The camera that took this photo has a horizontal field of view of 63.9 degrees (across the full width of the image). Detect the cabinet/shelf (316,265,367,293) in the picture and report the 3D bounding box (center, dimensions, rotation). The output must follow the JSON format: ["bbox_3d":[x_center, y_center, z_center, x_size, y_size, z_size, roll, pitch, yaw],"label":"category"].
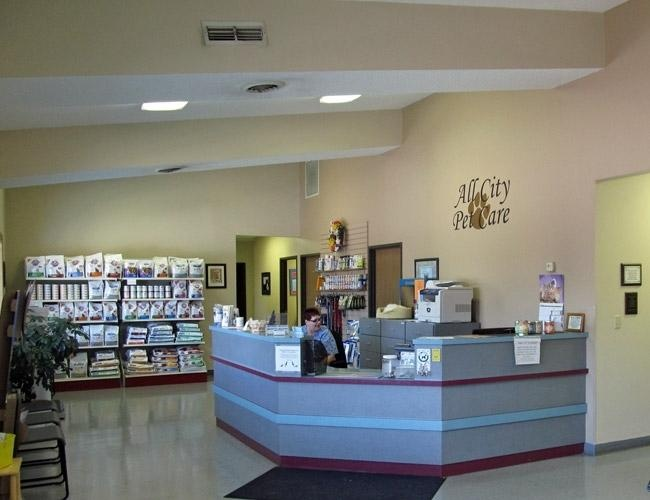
[{"bbox_3d":[0.302,0.591,9.970,0.261,0.431,1.398,1,-3,-31],"label":"cabinet/shelf"}]

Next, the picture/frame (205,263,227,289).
[{"bbox_3d":[-2.304,0.544,10.745,0.523,0.635,0.044,0,-2,-30],"label":"picture/frame"}]

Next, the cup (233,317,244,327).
[{"bbox_3d":[-1.178,0.957,6.887,0.153,0.150,0.099,0,0,12],"label":"cup"}]

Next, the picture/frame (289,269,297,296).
[{"bbox_3d":[-0.793,0.767,12.443,0.053,0.730,0.603,1,-4,-25],"label":"picture/frame"}]

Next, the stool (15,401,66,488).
[{"bbox_3d":[-2.838,1.945,5.141,0.356,0.664,0.998,-1,5,-16],"label":"stool"}]

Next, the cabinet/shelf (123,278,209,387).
[{"bbox_3d":[-3.063,1.553,9.700,1.775,2.467,1.261,0,-5,-22],"label":"cabinet/shelf"}]

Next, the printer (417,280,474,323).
[{"bbox_3d":[1.660,0.713,7.207,0.579,0.535,0.567,3,-5,-27],"label":"printer"}]

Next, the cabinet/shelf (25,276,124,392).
[{"bbox_3d":[-4.322,1.425,9.264,1.357,1.983,0.531,0,-2,-23],"label":"cabinet/shelf"}]

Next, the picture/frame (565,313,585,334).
[{"bbox_3d":[2.814,0.826,5.829,0.040,0.218,0.199,13,-11,-28],"label":"picture/frame"}]

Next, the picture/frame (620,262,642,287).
[{"bbox_3d":[3.438,0.277,5.868,0.264,0.230,0.022,2,-1,-30],"label":"picture/frame"}]

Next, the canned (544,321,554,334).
[{"bbox_3d":[2.483,0.867,5.780,0.109,0.131,0.113,-2,-3,21],"label":"canned"}]

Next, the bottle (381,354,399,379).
[{"bbox_3d":[0.660,1.183,5.329,0.164,0.211,0.187,-1,-2,6],"label":"bottle"}]

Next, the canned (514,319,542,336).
[{"bbox_3d":[2.242,0.859,5.739,0.259,0.135,0.163,-1,1,-12],"label":"canned"}]
